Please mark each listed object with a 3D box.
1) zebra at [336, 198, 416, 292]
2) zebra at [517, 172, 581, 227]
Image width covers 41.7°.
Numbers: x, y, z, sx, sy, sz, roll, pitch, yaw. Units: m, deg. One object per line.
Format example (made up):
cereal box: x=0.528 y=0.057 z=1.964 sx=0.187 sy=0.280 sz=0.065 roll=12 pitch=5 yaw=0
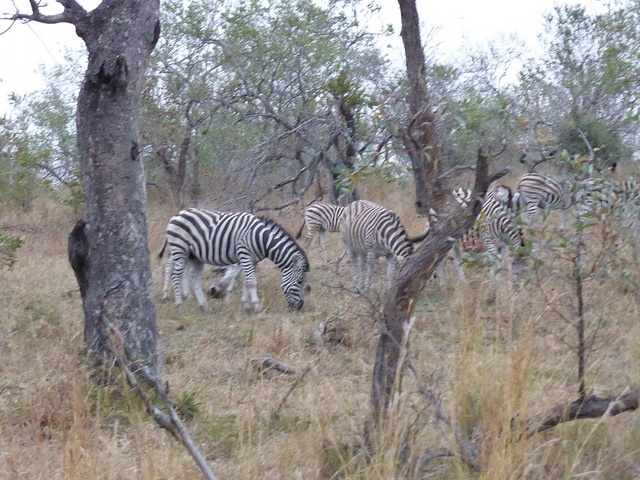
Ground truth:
zebra: x=1.094 y=0.183 z=15.792 sx=0.868 sy=1.722 sz=2.906 roll=-7 pitch=9 yaw=-21
zebra: x=4.388 y=-0.718 z=16.383 sx=1.986 sy=1.034 sz=0.557 roll=-5 pitch=-1 yaw=-35
